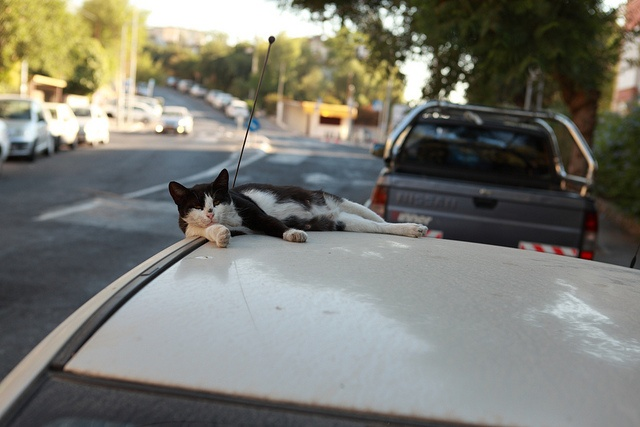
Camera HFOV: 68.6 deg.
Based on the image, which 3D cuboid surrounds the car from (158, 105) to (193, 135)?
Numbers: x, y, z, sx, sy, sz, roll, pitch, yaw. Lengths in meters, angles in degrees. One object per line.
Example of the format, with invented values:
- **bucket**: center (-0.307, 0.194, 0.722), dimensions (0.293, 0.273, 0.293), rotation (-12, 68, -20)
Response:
- **car**: center (-11.387, -7.309, 36.070), dimensions (2.315, 2.164, 5.428), rotation (0, 1, -3)
